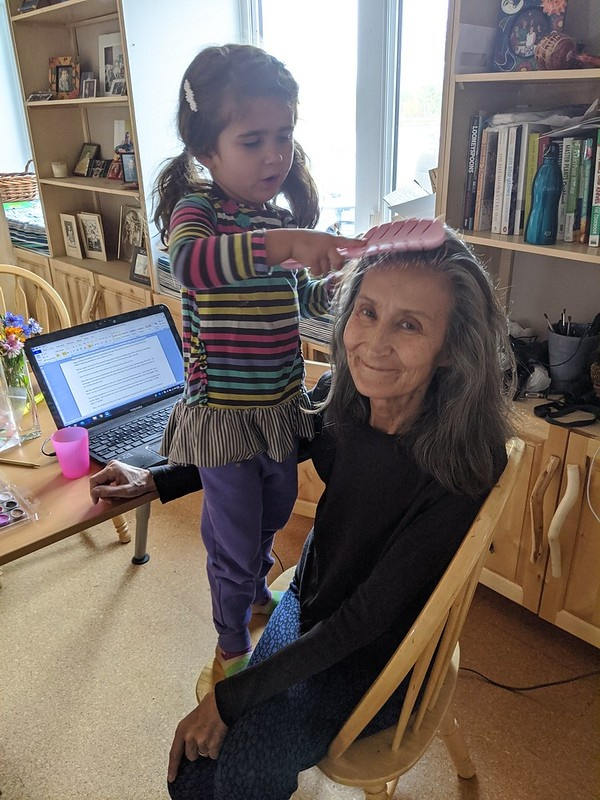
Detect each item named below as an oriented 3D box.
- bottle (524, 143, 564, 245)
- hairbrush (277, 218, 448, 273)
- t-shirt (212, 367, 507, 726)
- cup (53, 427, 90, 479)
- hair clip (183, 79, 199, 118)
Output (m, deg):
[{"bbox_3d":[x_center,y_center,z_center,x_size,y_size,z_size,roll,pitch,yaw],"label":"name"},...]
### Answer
[{"bbox_3d":[0.669,-0.563,1.540,0.086,0.252,0.167,4,25,20],"label":"bottle"},{"bbox_3d":[0.080,-0.198,0.745,0.222,0.052,0.031,-3,-27,43],"label":"hairbrush"},{"bbox_3d":[0.093,0.219,1.018,0.403,0.558,0.454,5,41,9],"label":"t-shirt"},{"bbox_3d":[-0.476,0.109,1.175,0.074,0.081,0.072,0,24,0],"label":"cup"},{"bbox_3d":[-0.173,-0.485,0.901,0.010,0.049,0.047,-13,25,-19],"label":"hair clip"}]
